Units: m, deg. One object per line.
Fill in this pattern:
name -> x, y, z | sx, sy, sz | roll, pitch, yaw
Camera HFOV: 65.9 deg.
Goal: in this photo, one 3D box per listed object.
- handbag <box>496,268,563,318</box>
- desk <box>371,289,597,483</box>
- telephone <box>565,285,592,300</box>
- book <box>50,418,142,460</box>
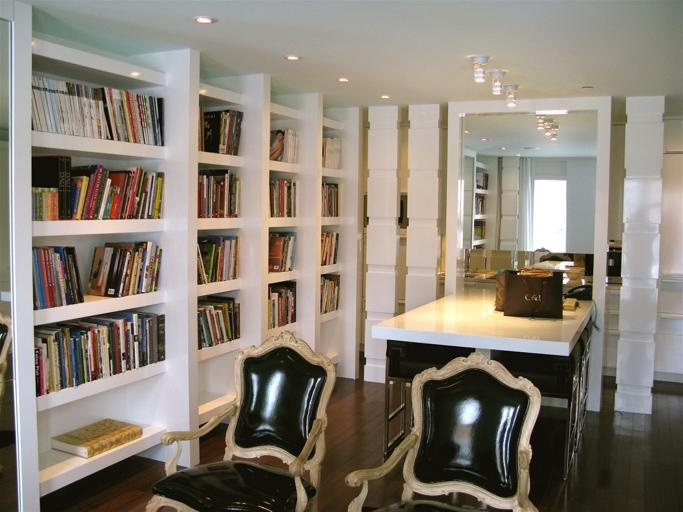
handbag -> 1.540, 0.293, 4.309 | 0.590, 0.435, 0.360 | 3, 9, 24
desk -> 1.249, 1.042, 4.632 | 1.447, 1.057, 2.197 | 2, 0, 24
telephone -> 2.353, 0.357, 5.224 | 0.223, 0.080, 0.156 | -1, 2, -12
book -> -1.717, 1.281, 3.740 | 0.408, 0.098, 0.497 | 5, 7, 29
